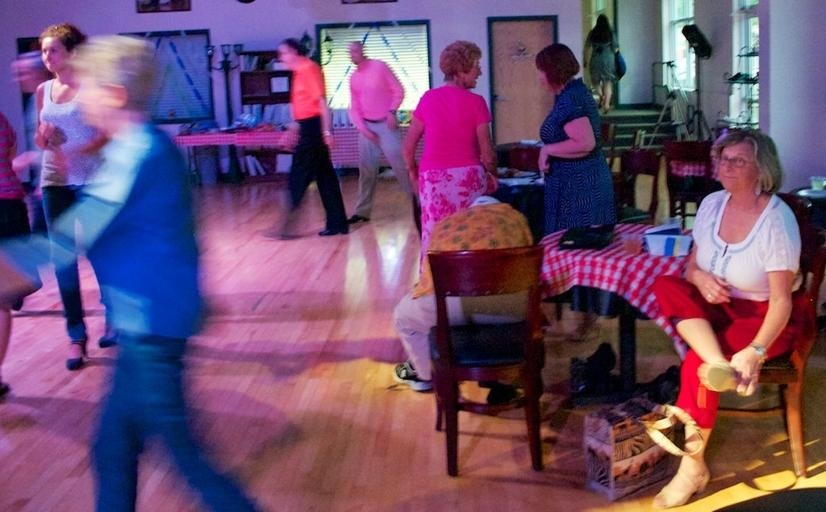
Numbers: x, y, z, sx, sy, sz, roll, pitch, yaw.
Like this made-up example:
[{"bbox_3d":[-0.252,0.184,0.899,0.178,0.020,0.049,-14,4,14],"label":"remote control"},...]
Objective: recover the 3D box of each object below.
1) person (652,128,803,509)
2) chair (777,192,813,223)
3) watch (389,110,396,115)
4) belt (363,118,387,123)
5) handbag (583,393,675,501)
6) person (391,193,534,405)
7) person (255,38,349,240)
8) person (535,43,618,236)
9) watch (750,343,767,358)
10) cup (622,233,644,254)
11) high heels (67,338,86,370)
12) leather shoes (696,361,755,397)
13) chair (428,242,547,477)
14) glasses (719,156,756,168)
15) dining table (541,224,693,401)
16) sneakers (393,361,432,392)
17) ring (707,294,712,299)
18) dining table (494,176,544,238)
[{"bbox_3d":[1.503,0.274,3.010,0.665,1.740,0.539,-3,12,7],"label":"person"},{"bbox_3d":[1.895,-0.239,3.110,0.152,0.154,0.148,-19,15,-42],"label":"chair"},{"bbox_3d":[-0.224,-1.668,7.189,0.087,0.056,0.077,-2,2,-22],"label":"watch"},{"bbox_3d":[-0.448,-1.610,7.376,0.256,0.056,0.038,-2,12,8],"label":"belt"},{"bbox_3d":[1.074,0.948,3.149,0.455,0.371,0.246,-6,6,-33],"label":"handbag"},{"bbox_3d":[0.262,0.315,3.556,0.641,0.969,0.755,-13,24,-32],"label":"person"},{"bbox_3d":[-1.151,-1.320,7.079,0.562,2.229,0.516,-3,12,5],"label":"person"},{"bbox_3d":[1.100,-0.779,4.228,0.505,1.294,0.440,-2,12,10],"label":"person"},{"bbox_3d":[1.588,0.433,2.879,0.053,0.049,0.062,8,39,-22],"label":"watch"},{"bbox_3d":[1.160,-0.068,3.360,0.123,0.087,0.124,-1,2,0],"label":"cup"},{"bbox_3d":[-2.376,0.687,4.434,0.090,0.224,0.065,-4,-17,-7],"label":"high heels"},{"bbox_3d":[1.440,0.557,2.912,0.234,0.125,0.211,21,-7,0],"label":"leather shoes"},{"bbox_3d":[0.390,0.513,3.261,0.590,1.172,0.368,-4,12,-1],"label":"chair"},{"bbox_3d":[1.539,-0.453,2.998,0.091,0.023,0.087,4,0,-38],"label":"glasses"},{"bbox_3d":[1.085,0.207,3.628,0.932,0.793,0.893,4,20,19],"label":"dining table"},{"bbox_3d":[-0.021,0.767,3.973,0.291,0.117,0.123,6,4,43],"label":"sneakers"},{"bbox_3d":[1.427,0.191,3.023,0.020,0.018,0.020,-4,14,1],"label":"ring"},{"bbox_3d":[0.857,-0.381,4.877,0.485,0.413,0.449,0,8,4],"label":"dining table"}]
